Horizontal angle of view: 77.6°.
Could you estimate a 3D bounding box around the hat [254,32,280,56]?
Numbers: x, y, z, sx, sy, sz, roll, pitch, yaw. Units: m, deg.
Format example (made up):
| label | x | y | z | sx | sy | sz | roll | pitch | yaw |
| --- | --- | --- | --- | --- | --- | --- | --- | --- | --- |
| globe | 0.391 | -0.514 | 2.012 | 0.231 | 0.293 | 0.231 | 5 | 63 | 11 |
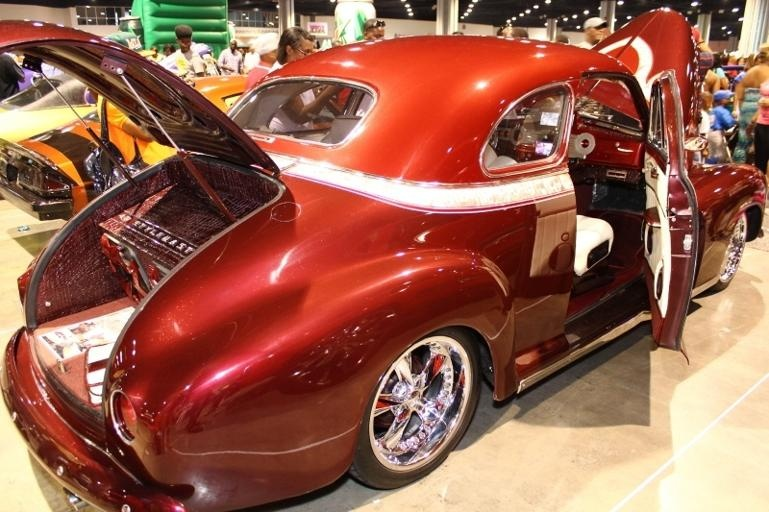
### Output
| label | x | y | z | sx | sy | sz | roll | pitch | yaw |
| --- | --- | --- | --- | --- | --- | --- | --- | --- | --- |
| hat | -1.160 | -2.145 | 4.800 | 0.209 | 0.094 | 0.295 | -14 | 27 | 19 |
